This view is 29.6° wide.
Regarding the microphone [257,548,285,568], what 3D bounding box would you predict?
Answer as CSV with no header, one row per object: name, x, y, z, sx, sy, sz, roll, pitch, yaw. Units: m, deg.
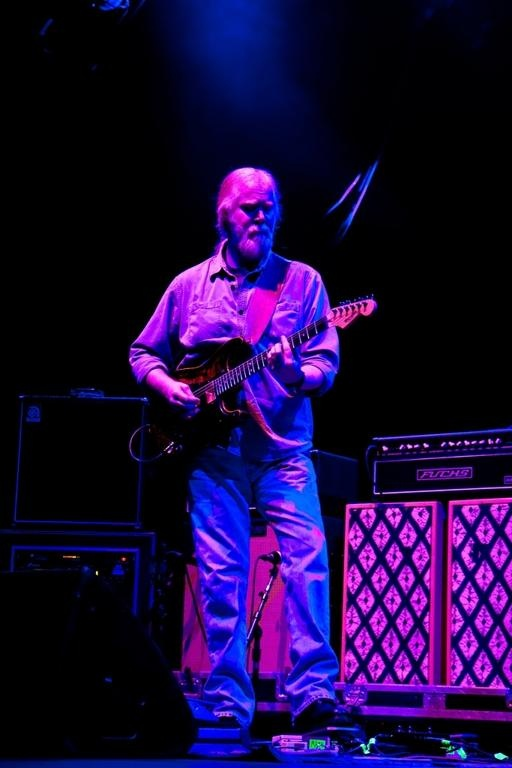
microphone,0.055,0.667,3.674,0.052,0.064,0.179,-5,-9,26

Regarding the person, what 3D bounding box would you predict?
person,-0.010,0.138,3.163,0.544,1.849,0.908,10,-11,-42

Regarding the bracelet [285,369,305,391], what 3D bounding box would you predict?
bracelet,0.123,-0.008,3.002,0.053,0.052,0.083,3,-10,2

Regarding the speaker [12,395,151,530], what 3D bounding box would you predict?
speaker,-0.790,0.469,4.320,0.568,0.631,0.495,1,-35,-10

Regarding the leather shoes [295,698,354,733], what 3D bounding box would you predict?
leather shoes,0.190,0.937,2.698,0.167,0.101,0.190,3,-10,2
